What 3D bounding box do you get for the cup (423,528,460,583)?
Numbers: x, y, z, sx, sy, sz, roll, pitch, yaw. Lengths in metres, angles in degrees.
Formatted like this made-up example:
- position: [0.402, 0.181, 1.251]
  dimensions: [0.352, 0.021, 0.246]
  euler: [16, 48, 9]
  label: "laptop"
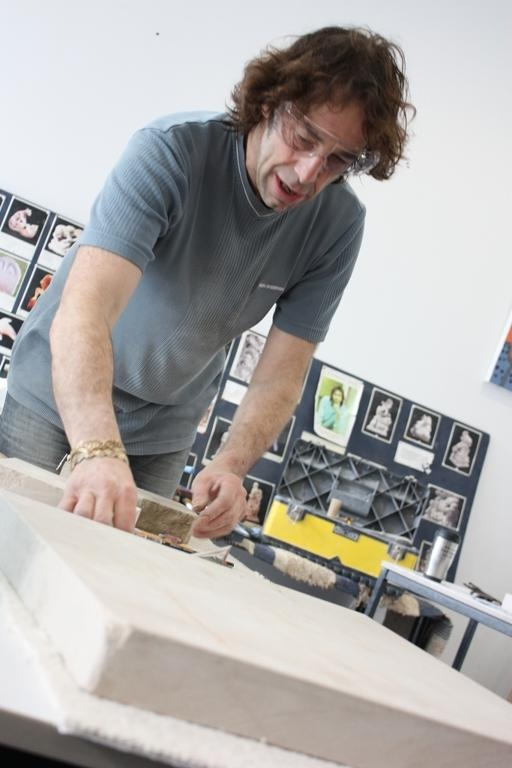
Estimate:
- position: [0.682, 0.637, 2.373]
  dimensions: [0.109, 0.189, 0.109]
  euler: [20, -5, 2]
  label: "cup"
